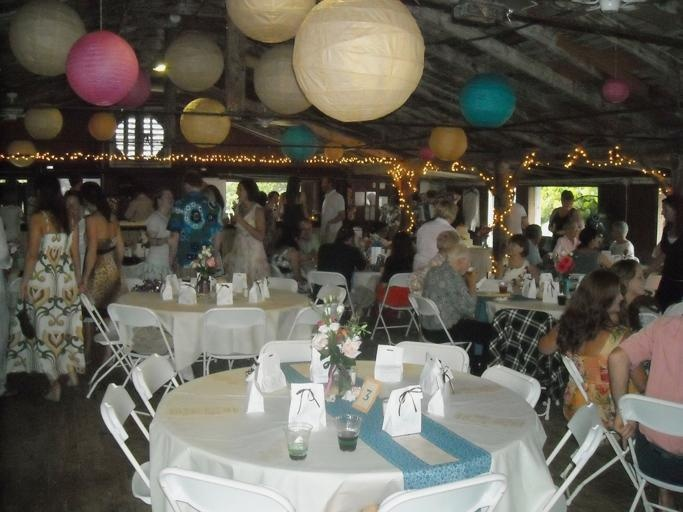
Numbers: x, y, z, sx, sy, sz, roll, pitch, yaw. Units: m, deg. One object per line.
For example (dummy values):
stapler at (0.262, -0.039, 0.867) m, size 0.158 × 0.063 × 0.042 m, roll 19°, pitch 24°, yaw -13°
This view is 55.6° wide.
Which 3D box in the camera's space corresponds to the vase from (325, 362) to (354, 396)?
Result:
vase at (-0.014, 0.702, 3.640) m, size 0.154 × 0.199 × 0.164 m, roll 7°, pitch -13°, yaw -8°

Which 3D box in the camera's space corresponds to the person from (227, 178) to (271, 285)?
person at (-1.012, -0.248, 7.031) m, size 0.423 × 1.132 × 0.716 m, roll -1°, pitch 1°, yaw -10°

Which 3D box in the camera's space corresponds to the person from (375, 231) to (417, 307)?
person at (0.723, 0.173, 8.111) m, size 0.483 × 1.014 × 0.588 m, roll -1°, pitch 28°, yaw -10°

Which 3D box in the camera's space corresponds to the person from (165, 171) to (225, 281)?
person at (-1.600, -0.190, 7.074) m, size 0.553 × 1.535 × 0.478 m, roll -5°, pitch 32°, yaw -21°

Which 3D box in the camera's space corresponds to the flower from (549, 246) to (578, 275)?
flower at (2.307, 0.045, 6.683) m, size 0.187 × 0.211 × 0.184 m, roll -30°, pitch 36°, yaw -23°

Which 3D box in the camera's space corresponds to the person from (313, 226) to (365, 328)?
person at (0.008, 0.048, 8.104) m, size 0.556 × 1.120 × 0.792 m, roll 0°, pitch 18°, yaw 4°

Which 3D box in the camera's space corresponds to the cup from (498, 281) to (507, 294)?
cup at (1.559, 0.309, 6.233) m, size 0.086 × 0.111 × 0.093 m, roll -2°, pitch 3°, yaw 0°

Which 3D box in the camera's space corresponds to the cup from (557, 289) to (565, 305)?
cup at (2.016, 0.397, 5.951) m, size 0.068 × 0.107 × 0.104 m, roll 0°, pitch -3°, yaw 3°

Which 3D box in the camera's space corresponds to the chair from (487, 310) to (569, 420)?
chair at (1.647, 0.919, 5.390) m, size 0.461 × 0.755 × 0.552 m, roll -9°, pitch 28°, yaw -26°

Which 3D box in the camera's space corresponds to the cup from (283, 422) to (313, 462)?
cup at (-0.198, 0.876, 3.097) m, size 0.145 × 0.173 × 0.105 m, roll -1°, pitch 2°, yaw -30°

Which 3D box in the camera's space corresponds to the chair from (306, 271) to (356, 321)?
chair at (-0.137, 0.388, 7.815) m, size 0.443 × 0.727 × 0.604 m, roll 12°, pitch 21°, yaw 24°

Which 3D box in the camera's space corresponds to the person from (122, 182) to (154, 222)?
person at (-3.766, -1.109, 12.279) m, size 0.306 × 0.245 × 0.746 m, roll -16°, pitch -29°, yaw -28°

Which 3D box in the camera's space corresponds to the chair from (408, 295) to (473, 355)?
chair at (0.798, 0.704, 5.826) m, size 0.558 × 0.406 × 0.317 m, roll 44°, pitch -28°, yaw -26°

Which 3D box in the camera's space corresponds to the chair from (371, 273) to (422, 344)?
chair at (0.646, 0.609, 7.561) m, size 0.390 × 0.769 × 0.520 m, roll -3°, pitch 4°, yaw 16°

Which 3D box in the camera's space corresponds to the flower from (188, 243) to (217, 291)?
flower at (-1.268, 0.142, 5.942) m, size 0.250 × 0.425 × 0.168 m, roll 16°, pitch 15°, yaw 41°

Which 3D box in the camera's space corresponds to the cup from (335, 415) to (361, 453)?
cup at (0.034, 0.854, 3.146) m, size 0.138 × 0.165 × 0.146 m, roll -2°, pitch 1°, yaw 0°
